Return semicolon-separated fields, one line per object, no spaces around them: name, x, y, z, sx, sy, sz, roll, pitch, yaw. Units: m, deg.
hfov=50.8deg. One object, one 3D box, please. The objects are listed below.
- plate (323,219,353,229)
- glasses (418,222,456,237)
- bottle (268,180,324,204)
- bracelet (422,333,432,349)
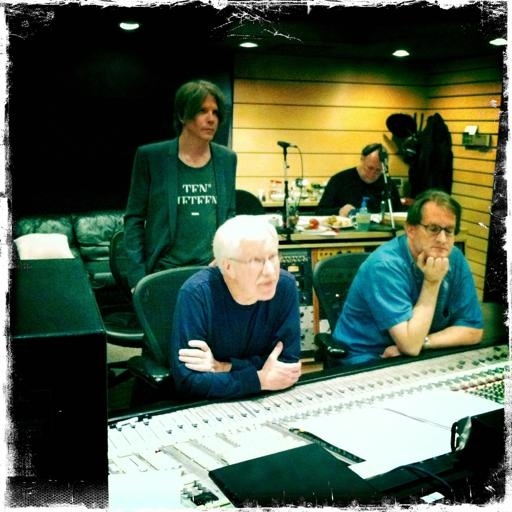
plate;0.583;-0.213;3.765;0.111;0.021;0.102;-7;20;-26
glasses;0.613;-0.087;1.818;0.123;0.040;0.037;6;13;9
bottle;0.364;-0.603;5.179;0.425;0.173;0.219;-2;17;-17
bracelet;0.572;0.292;1.823;0.034;0.048;0.051;-6;-26;19
